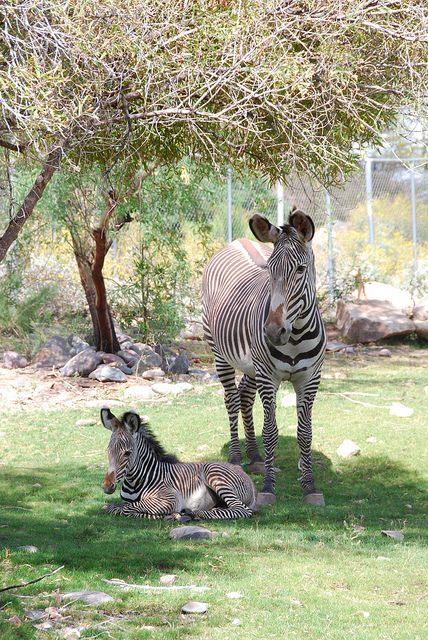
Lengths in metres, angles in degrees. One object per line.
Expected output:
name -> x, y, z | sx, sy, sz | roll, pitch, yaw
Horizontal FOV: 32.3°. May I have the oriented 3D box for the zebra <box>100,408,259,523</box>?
zebra -> -0.269, 1.072, 5.304 | 1.244, 0.707, 0.482 | 9, -16, -34
